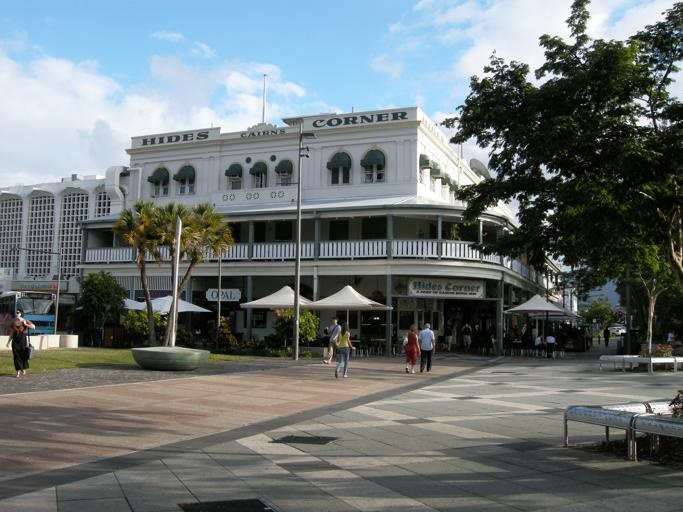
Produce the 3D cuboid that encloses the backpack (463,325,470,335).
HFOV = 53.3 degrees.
[{"bbox_3d":[7.542,4.463,40.685,0.362,0.518,0.810,0,-6,1],"label":"backpack"}]

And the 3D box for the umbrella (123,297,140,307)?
[{"bbox_3d":[-11.137,2.498,36.131,0.618,0.360,0.582,0,-3,21],"label":"umbrella"}]

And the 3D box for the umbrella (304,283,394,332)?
[{"bbox_3d":[0.235,1.991,30.411,3.112,1.130,3.656,0,-2,31],"label":"umbrella"}]

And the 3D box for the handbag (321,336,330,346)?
[{"bbox_3d":[-0.812,4.261,33.690,0.598,0.548,0.547,-1,-8,14],"label":"handbag"}]
